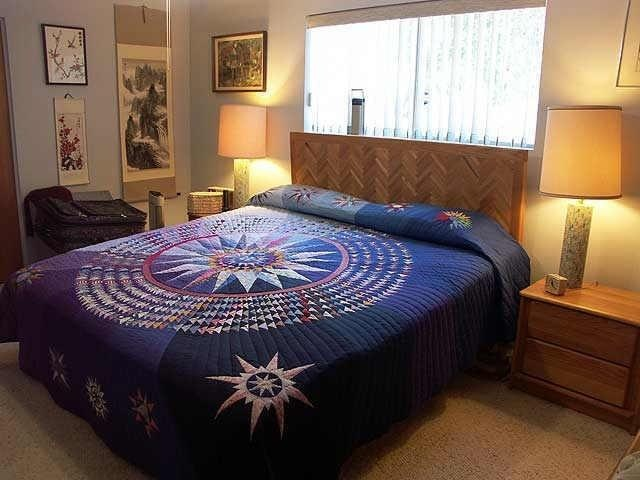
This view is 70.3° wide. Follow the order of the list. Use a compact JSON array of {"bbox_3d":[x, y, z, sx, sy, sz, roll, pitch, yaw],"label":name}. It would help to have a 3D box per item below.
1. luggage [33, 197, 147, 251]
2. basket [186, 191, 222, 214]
[{"bbox_3d":[-1.863,-0.066,4.242,0.891,0.322,0.875,6,-2,-23],"label":"luggage"},{"bbox_3d":[-1.188,-0.387,4.772,0.248,0.173,0.259,0,11,-3],"label":"basket"}]
